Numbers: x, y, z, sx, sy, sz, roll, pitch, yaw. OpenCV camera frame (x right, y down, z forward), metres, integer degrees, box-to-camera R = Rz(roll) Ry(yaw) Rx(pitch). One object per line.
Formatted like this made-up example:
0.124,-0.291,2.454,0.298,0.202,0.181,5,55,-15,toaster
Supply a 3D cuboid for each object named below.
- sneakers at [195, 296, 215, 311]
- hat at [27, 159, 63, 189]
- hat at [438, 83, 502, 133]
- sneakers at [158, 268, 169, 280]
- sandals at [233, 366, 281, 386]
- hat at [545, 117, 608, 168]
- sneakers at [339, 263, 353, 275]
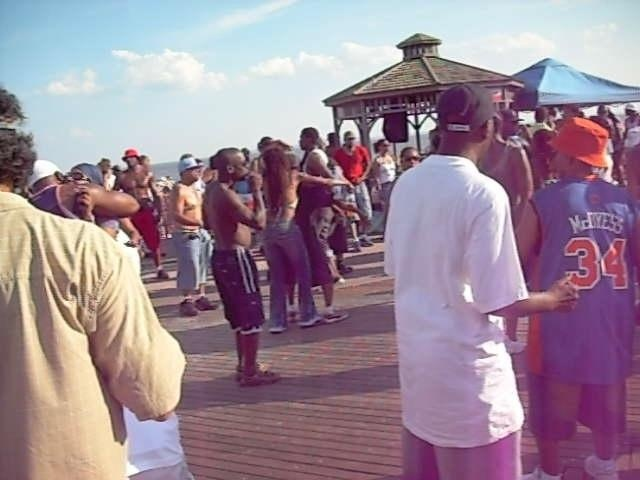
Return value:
-1.626,0.904,8.700,0.390,0.185,0.137,1,9,-2,sneakers
-1.806,-0.433,3.960,0.182,0.164,0.245,-10,10,-19,hat
0.659,-0.598,2.752,0.251,0.220,0.211,-6,9,8,hat
-2.984,0.647,11.605,0.247,0.233,0.134,-2,7,-7,sneakers
-0.584,1.268,5.666,0.413,0.182,0.156,-2,4,-9,sandals
1.471,-0.557,3.427,0.317,0.163,0.264,21,20,8,hat
0.428,0.498,10.126,0.108,0.118,0.281,-2,-1,-35,sneakers
